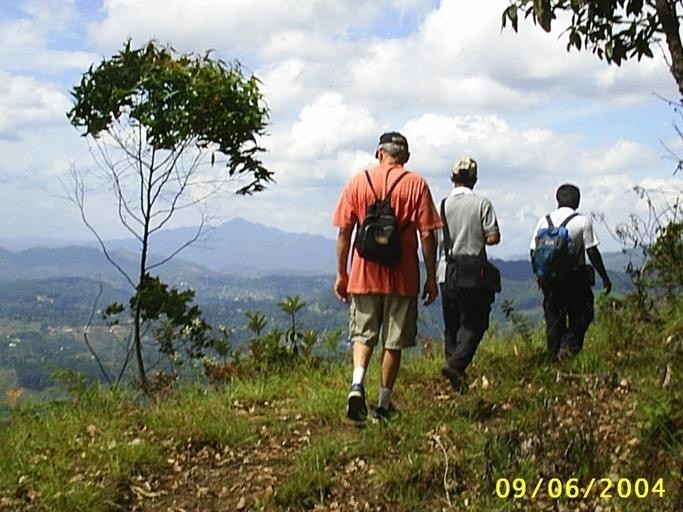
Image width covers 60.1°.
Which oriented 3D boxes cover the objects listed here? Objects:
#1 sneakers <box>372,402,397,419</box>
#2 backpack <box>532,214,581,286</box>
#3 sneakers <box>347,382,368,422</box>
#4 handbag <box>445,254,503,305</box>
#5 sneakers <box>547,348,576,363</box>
[{"bbox_3d":[0.451,1.627,6.217,0.105,0.136,0.297,1,1,37],"label":"sneakers"},{"bbox_3d":[2.726,-0.133,7.557,0.537,0.885,0.460,-3,-7,41],"label":"backpack"},{"bbox_3d":[0.157,1.508,6.175,0.159,0.176,0.406,0,-43,4],"label":"sneakers"},{"bbox_3d":[1.559,0.226,6.907,0.567,0.472,0.472,1,-14,-13],"label":"handbag"},{"bbox_3d":[2.772,1.263,7.481,0.198,0.120,0.229,-3,6,21],"label":"sneakers"}]
